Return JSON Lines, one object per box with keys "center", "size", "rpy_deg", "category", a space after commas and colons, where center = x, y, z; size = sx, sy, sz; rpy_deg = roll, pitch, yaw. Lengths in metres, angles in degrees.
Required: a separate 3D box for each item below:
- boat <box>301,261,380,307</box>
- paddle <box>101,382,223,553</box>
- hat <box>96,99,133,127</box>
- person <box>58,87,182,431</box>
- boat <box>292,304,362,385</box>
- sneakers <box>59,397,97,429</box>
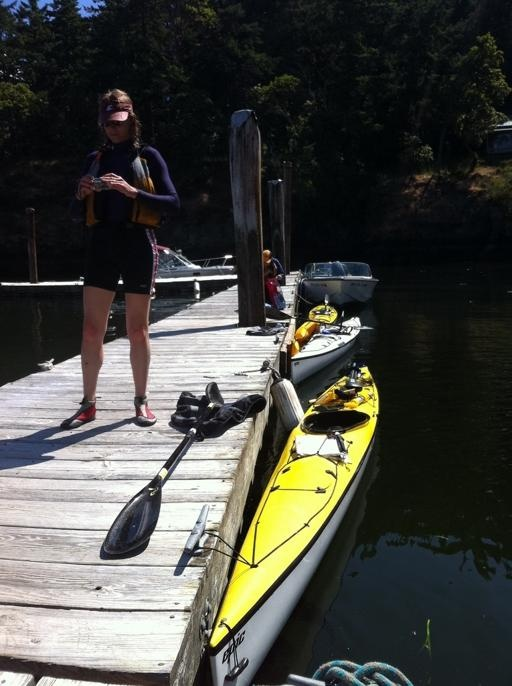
{"center": [1.780, -1.231, 16.172], "size": [1.258, 0.765, 2.396], "rpy_deg": [1, 13, 8], "category": "boat"}
{"center": [-0.357, 0.493, 3.306], "size": [0.201, 0.164, 1.262], "rpy_deg": [20, 22, 4], "category": "paddle"}
{"center": [-0.689, -1.145, 3.779], "size": [0.205, 0.120, 0.165], "rpy_deg": [-7, 14, -24], "category": "hat"}
{"center": [-0.705, -0.405, 3.903], "size": [0.642, 1.747, 0.420], "rpy_deg": [-3, 13, -6], "category": "person"}
{"center": [0.777, 0.013, 9.054], "size": [0.439, 0.336, 1.968], "rpy_deg": [7, 21, 17], "category": "boat"}
{"center": [-0.976, 0.384, 4.047], "size": [0.088, 0.139, 0.249], "rpy_deg": [-2, 1, 22], "category": "sneakers"}
